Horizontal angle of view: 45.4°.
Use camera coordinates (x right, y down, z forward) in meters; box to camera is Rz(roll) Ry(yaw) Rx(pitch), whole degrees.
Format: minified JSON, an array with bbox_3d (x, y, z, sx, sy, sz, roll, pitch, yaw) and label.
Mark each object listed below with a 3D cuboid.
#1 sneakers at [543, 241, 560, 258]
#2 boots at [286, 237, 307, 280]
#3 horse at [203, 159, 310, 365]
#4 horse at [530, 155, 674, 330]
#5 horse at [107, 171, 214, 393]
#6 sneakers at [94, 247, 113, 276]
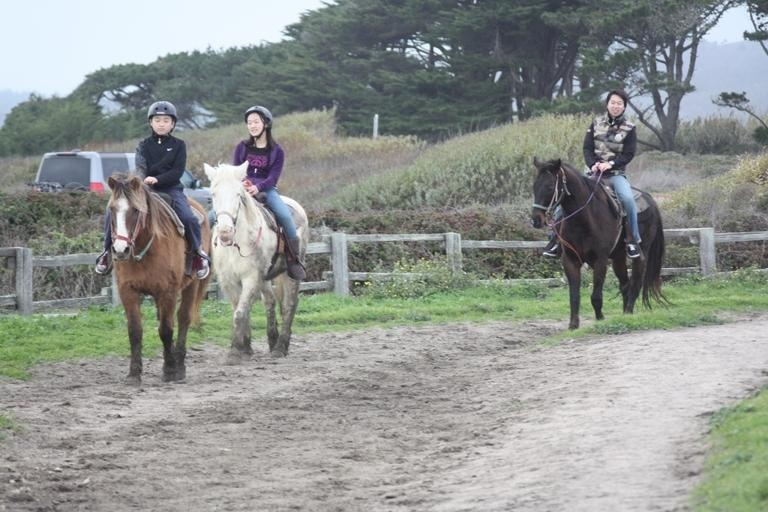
[{"bbox_3d":[3.792,-0.150,20.357,0.190,0.254,0.595,1,1,20],"label":"sneakers"},{"bbox_3d":[-1.754,0.029,18.898,0.374,0.744,1.029,-11,21,-11],"label":"boots"},{"bbox_3d":[-2.581,0.083,18.163,1.361,3.865,2.804,-3,0,12],"label":"horse"},{"bbox_3d":[4.630,-0.328,19.740,3.632,3.597,1.048,-4,0,-44],"label":"horse"},{"bbox_3d":[-4.098,0.394,16.539,0.981,3.677,2.280,-3,0,15],"label":"horse"},{"bbox_3d":[-5.146,0.081,16.822,0.223,0.279,0.667,3,14,-5],"label":"sneakers"}]
